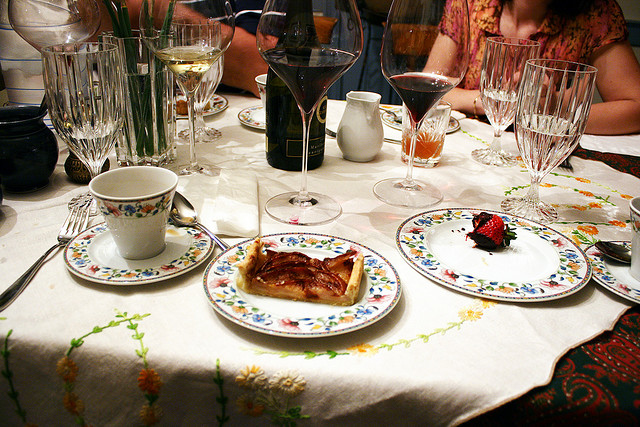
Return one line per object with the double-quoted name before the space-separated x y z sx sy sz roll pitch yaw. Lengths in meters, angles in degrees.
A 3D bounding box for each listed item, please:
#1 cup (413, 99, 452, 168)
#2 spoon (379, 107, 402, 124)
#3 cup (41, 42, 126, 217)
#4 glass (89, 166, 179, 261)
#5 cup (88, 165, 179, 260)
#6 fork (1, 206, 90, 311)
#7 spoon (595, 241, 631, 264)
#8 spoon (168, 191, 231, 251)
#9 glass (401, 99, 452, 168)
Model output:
"cup" 0.301 -0.204 1.173 0.103 0.166 0.105 5 2 0
"spoon" 0.238 -0.313 1.400 0.013 0.009 0.062 -11 45 -46
"cup" -0.498 -0.176 0.929 0.150 0.340 0.147 7 25 -3
"glass" -0.311 0.002 0.752 0.133 0.120 0.140 -9 30 -30
"cup" -0.329 0.000 0.808 0.155 0.135 0.159 8 34 -5
"fork" -0.462 0.068 0.747 0.029 0.025 0.214 15 48 14
"spoon" 0.529 0.068 0.778 0.037 0.010 0.045 18 13 -10
"spoon" -0.256 0.007 0.869 0.055 0.041 0.248 -22 46 -29
"glass" 0.282 -0.220 1.183 0.143 0.174 0.147 2 15 -11
